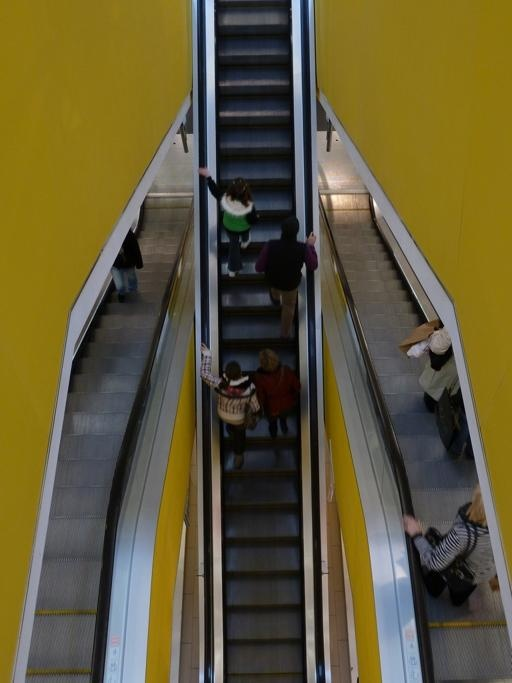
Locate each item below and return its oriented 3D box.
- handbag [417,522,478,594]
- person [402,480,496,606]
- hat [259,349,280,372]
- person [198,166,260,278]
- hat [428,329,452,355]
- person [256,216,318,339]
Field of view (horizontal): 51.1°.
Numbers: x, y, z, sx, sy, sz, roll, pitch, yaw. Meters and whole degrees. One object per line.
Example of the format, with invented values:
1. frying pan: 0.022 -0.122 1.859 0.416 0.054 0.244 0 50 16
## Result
1. handbag: 1.100 1.283 3.098 0.140 0.523 0.353 -14 6 -29
2. person: 1.110 1.200 3.094 0.308 0.580 0.827 -9 -33 -7
3. hat: 0.130 0.193 5.157 0.184 0.139 0.240 -4 -52 0
4. person: -0.249 -1.265 5.446 0.445 0.681 1.405 -18 -21 -11
5. hat: 1.306 -0.040 3.792 0.108 0.244 0.061 10 -2 -22
6. person: 0.303 -0.850 5.316 0.521 1.074 1.711 -6 -18 -1
